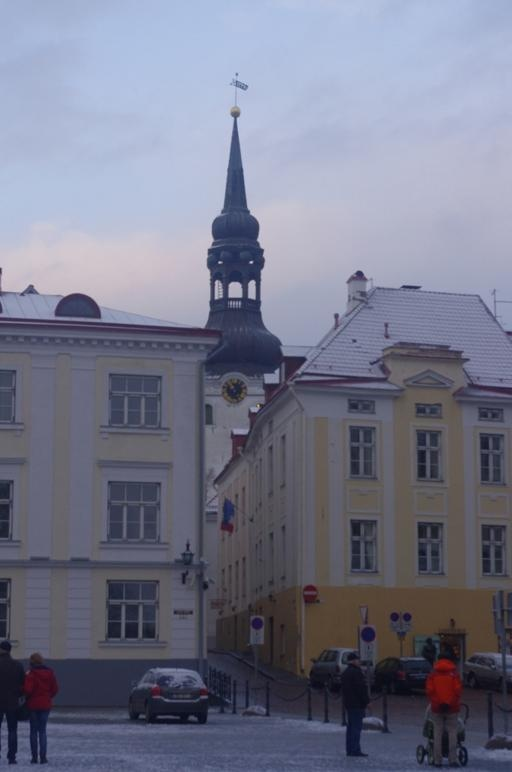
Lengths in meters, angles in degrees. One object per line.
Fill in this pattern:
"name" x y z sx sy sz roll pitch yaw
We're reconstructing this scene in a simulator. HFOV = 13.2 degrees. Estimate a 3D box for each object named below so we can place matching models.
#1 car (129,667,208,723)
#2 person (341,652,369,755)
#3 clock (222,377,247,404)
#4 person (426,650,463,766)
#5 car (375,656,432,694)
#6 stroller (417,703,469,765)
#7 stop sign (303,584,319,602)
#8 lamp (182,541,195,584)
"car" -1.908 6.518 48.037 1.308 1.242 2.726 1 -4 -15
"person" 1.816 5.442 38.630 0.414 1.749 0.538 0 -10 -17
"clock" -0.997 -0.087 115.466 1.170 1.545 0.192 4 -28 -11
"person" 3.189 5.296 36.497 0.542 1.765 0.562 -1 -9 4
"car" 3.990 7.478 58.910 1.154 1.048 2.741 1 -5 -10
"stroller" 3.260 5.892 37.124 0.833 1.631 0.951 0 -10 0
"stop sign" 1.706 5.875 64.637 0.411 0.581 0.174 -1 0 -10
"lamp" -1.637 4.217 54.999 0.304 1.104 0.604 -1 -9 1
